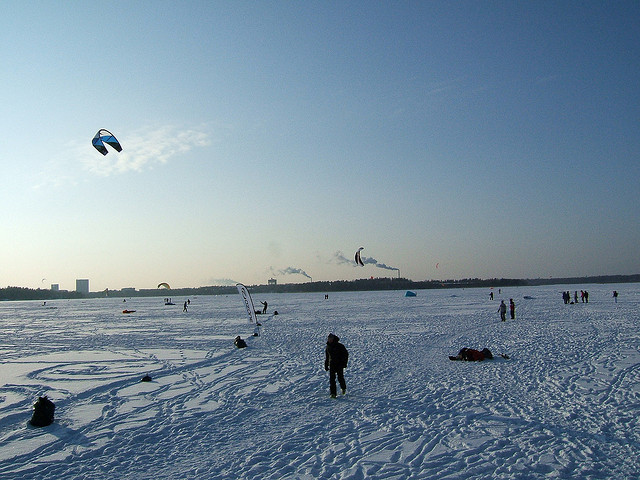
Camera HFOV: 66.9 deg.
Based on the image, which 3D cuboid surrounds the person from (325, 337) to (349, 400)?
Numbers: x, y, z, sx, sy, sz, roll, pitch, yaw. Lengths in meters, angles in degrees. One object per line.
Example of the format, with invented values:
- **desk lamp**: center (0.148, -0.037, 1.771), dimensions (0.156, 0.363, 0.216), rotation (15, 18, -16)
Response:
- **person**: center (0.478, 3.324, 12.899), dimensions (0.590, 1.612, 0.967), rotation (-6, -5, 1)

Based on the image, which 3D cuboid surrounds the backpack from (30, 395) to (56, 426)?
- **backpack**: center (-6.479, 4.000, 11.376), dimensions (0.161, 0.576, 0.429), rotation (-19, -14, 35)
